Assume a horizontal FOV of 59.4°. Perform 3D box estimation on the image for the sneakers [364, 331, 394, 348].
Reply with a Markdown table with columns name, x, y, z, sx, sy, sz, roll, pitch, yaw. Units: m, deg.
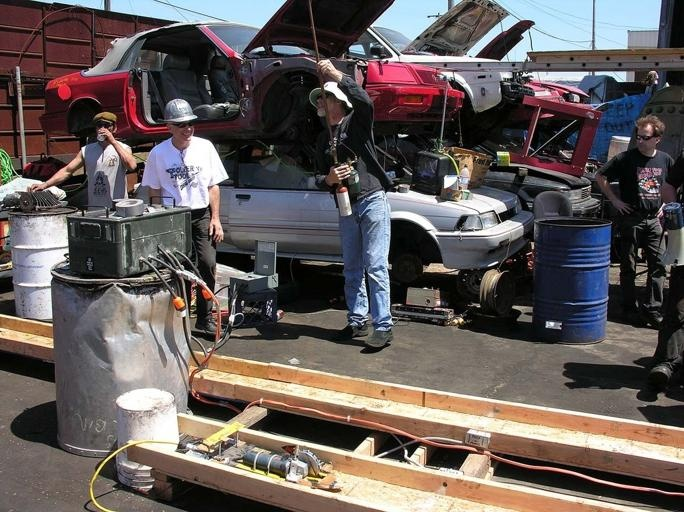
| name | x | y | z | sx | sy | sz | roll | pitch | yaw |
| --- | --- | --- | --- | --- | --- | --- | --- | --- | --- |
| sneakers | 0.349 | 0.835 | 5.927 | 0.141 | 0.121 | 0.354 | 0 | -1 | 36 |

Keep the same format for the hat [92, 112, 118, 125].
| name | x | y | z | sx | sy | sz | roll | pitch | yaw |
| --- | --- | --- | --- | --- | --- | --- | --- | --- | --- |
| hat | -2.500 | -1.444 | 6.344 | 0.169 | 0.130 | 0.230 | 0 | 11 | -2 |

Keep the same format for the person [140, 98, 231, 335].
| name | x | y | z | sx | sy | sz | roll | pitch | yaw |
| --- | --- | --- | --- | --- | --- | --- | --- | --- | --- |
| person | -1.518 | -0.310 | 5.781 | 0.567 | 2.295 | 0.718 | 12 | 18 | 38 |

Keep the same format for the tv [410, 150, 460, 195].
| name | x | y | z | sx | sy | sz | roll | pitch | yaw |
| --- | --- | --- | --- | --- | --- | --- | --- | --- | --- |
| tv | 1.031 | -0.965 | 7.034 | 0.618 | 0.495 | 0.604 | -4 | 11 | -41 |

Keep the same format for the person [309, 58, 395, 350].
| name | x | y | z | sx | sy | sz | roll | pitch | yaw |
| --- | --- | --- | --- | --- | --- | --- | --- | --- | --- |
| person | 0.097 | -0.464 | 5.888 | 0.952 | 2.768 | 0.669 | 5 | 15 | 16 |

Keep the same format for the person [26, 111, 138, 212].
| name | x | y | z | sx | sy | sz | roll | pitch | yaw |
| --- | --- | --- | --- | --- | --- | --- | --- | --- | --- |
| person | -2.726 | -1.030 | 6.474 | 0.967 | 0.991 | 0.627 | -1 | 13 | -9 |

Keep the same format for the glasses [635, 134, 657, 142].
| name | x | y | z | sx | sy | sz | roll | pitch | yaw |
| --- | --- | --- | --- | --- | --- | --- | --- | --- | --- |
| glasses | 3.319 | -1.284 | 6.552 | 0.195 | 0.057 | 0.107 | 4 | 11 | 19 |

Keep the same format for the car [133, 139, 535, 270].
| name | x | y | z | sx | sy | sz | roll | pitch | yaw |
| --- | --- | --- | --- | --- | --- | --- | --- | --- | --- |
| car | -0.176 | -0.581 | 7.769 | 4.646 | 1.065 | 1.807 | 1 | 10 | 24 |

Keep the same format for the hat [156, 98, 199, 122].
| name | x | y | z | sx | sy | sz | roll | pitch | yaw |
| --- | --- | --- | --- | --- | --- | --- | --- | --- | --- |
| hat | -1.480 | -1.311 | 5.472 | 0.256 | 0.232 | 0.408 | -2 | 11 | -14 |

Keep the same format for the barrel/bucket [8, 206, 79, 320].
| name | x | y | z | sx | sy | sz | roll | pitch | yaw |
| --- | --- | --- | --- | --- | --- | --- | --- | --- | --- |
| barrel/bucket | -3.064 | 0.108 | 6.170 | 0.633 | 1.162 | 0.275 | -4 | 15 | -19 |

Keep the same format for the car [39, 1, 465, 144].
| name | x | y | z | sx | sy | sz | roll | pitch | yaw |
| --- | --- | --- | --- | --- | --- | --- | --- | --- | --- |
| car | -1.618 | -2.475 | 8.632 | 5.376 | 1.561 | 2.781 | 0 | 9 | 21 |

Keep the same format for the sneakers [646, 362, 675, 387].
| name | x | y | z | sx | sy | sz | roll | pitch | yaw |
| --- | --- | --- | --- | --- | --- | --- | --- | --- | --- |
| sneakers | 2.686 | 1.012 | 5.074 | 0.167 | 0.103 | 0.300 | 10 | 14 | 31 |

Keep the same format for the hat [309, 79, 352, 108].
| name | x | y | z | sx | sy | sz | roll | pitch | yaw |
| --- | --- | --- | --- | --- | --- | --- | --- | --- | --- |
| hat | -0.096 | -1.560 | 5.662 | 0.426 | 0.108 | 0.315 | 12 | -12 | -34 |
